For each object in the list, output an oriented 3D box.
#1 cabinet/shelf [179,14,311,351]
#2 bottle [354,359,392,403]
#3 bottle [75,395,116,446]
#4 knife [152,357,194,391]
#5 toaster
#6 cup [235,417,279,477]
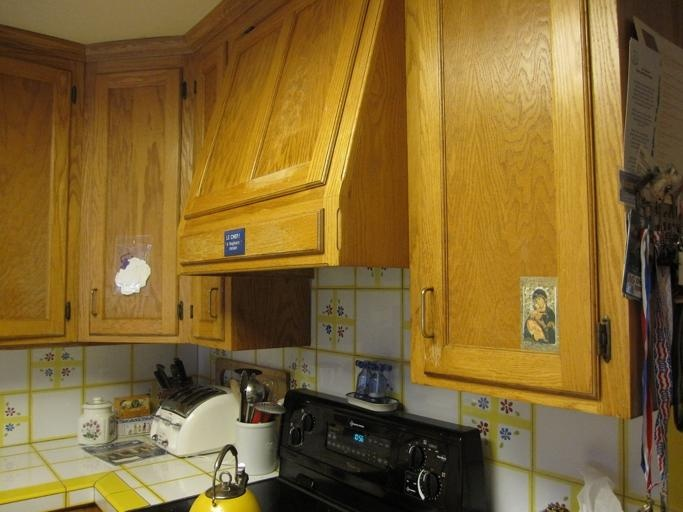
[{"bbox_3d":[-0.379,-0.327,2.644,0.673,1.411,0.475,-16,-34,15],"label":"cabinet/shelf"},{"bbox_3d":[0.102,0.419,2.002,0.110,0.134,0.140,9,-10,-37],"label":"bottle"},{"bbox_3d":[-1.091,0.731,2.594,0.144,0.202,0.153,1,-1,0],"label":"bottle"},{"bbox_3d":[-0.820,0.567,2.784,0.149,0.175,0.153,-7,10,41],"label":"knife"},{"bbox_3d":[-0.621,0.688,2.449,0.285,0.257,0.301,3,-6,-37],"label":"toaster"},{"bbox_3d":[-0.329,0.731,2.208,0.141,0.181,0.158,-1,-15,-13],"label":"cup"}]
